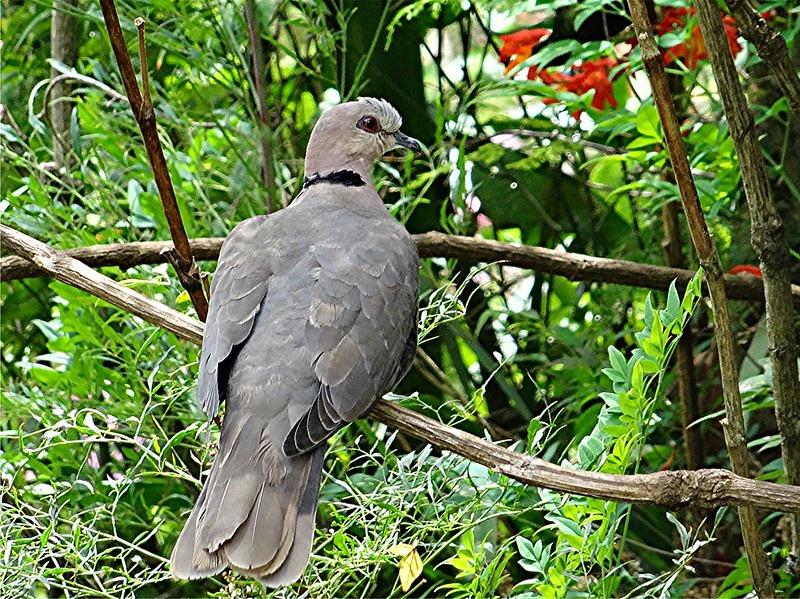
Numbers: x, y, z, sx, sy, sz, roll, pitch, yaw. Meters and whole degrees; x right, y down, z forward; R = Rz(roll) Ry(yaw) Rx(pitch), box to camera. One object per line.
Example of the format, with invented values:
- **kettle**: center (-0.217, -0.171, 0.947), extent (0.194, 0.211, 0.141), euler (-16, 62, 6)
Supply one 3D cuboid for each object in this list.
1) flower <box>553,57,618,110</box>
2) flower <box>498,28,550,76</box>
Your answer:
- **flower**: center (0.673, -0.765, 3.584), extent (0.099, 0.141, 0.309), euler (-22, -24, 30)
- **flower**: center (0.446, -0.902, 3.631), extent (0.181, 0.122, 0.211), euler (-3, 27, 6)
